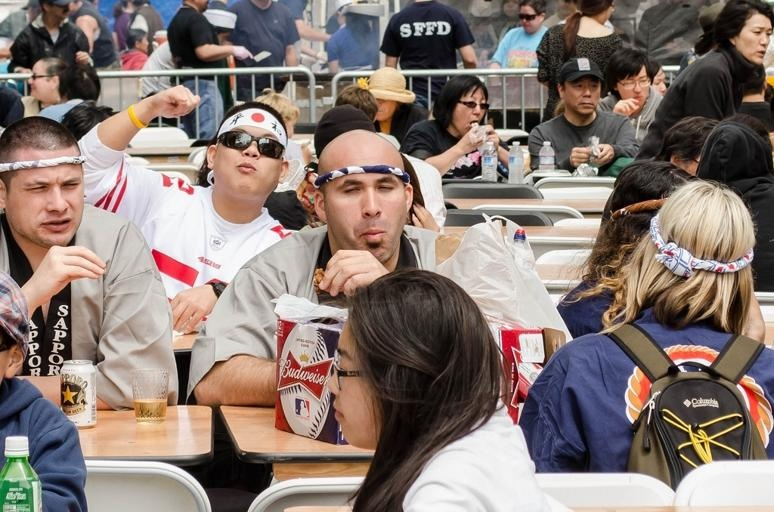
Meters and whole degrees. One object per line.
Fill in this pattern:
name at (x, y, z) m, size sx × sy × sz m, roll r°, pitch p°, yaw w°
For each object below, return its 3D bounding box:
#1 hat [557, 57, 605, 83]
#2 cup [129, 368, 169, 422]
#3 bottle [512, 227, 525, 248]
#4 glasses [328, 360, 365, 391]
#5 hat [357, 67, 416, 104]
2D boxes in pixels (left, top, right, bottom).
hat at (1.761, -1.694, 9.270) m, size 0.368 × 0.230 × 0.287 m, roll 2°, pitch 5°, yaw 12°
cup at (-0.935, 0.550, 4.028) m, size 0.184 × 0.271 × 0.197 m, roll -2°, pitch -8°, yaw 0°
bottle at (0.579, -0.080, 4.453) m, size 0.071 × 0.120 × 0.089 m, roll 1°, pitch -3°, yaw 6°
glasses at (-0.116, 0.357, 3.040) m, size 0.101 × 0.041 × 0.093 m, roll 1°, pitch 1°, yaw -6°
hat at (0.013, -1.662, 10.324) m, size 0.456 × 0.206 × 0.438 m, roll 11°, pitch 14°, yaw -24°
